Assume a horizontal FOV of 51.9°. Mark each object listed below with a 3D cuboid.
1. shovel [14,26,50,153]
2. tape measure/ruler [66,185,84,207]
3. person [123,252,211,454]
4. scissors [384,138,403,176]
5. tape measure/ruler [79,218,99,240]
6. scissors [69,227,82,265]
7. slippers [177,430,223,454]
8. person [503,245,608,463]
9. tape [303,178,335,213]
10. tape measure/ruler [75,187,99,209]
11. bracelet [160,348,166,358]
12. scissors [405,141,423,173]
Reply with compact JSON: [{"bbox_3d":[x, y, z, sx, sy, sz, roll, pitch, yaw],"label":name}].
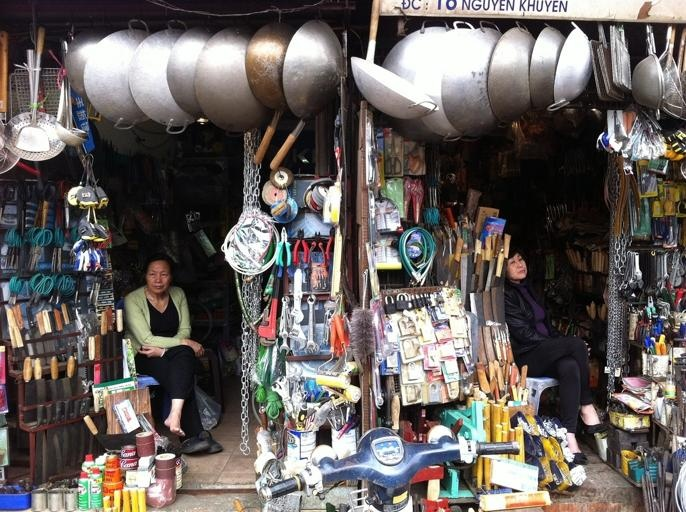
[{"bbox_3d":[-2.398,-1.267,5.496,0.215,1.032,0.212,5,8,14],"label":"shovel"},{"bbox_3d":[-2.135,-0.478,5.653,0.170,0.148,0.076,-10,2,28],"label":"tape measure/ruler"},{"bbox_3d":[-1.557,0.824,6.249,0.680,1.890,0.663,3,9,-9],"label":"person"},{"bbox_3d":[0.429,-0.831,5.902,0.142,0.315,0.091,-1,0,-4],"label":"scissors"},{"bbox_3d":[-2.030,-0.206,5.580,0.099,0.166,0.058,0,-7,-14],"label":"tape measure/ruler"},{"bbox_3d":[-2.198,-0.079,5.800,0.088,0.285,0.184,0,1,-8],"label":"scissors"},{"bbox_3d":[-1.226,1.602,6.106,0.268,0.158,0.182,-4,-7,9],"label":"slippers"},{"bbox_3d":[1.785,0.827,6.078,0.748,1.776,0.733,3,8,5],"label":"person"},{"bbox_3d":[-0.203,-0.480,5.623,0.198,0.263,0.248,13,-32,-3],"label":"tape"},{"bbox_3d":[-2.028,-0.458,5.560,0.149,0.167,0.119,-6,4,-21],"label":"tape measure/ruler"},{"bbox_3d":[-1.609,0.870,6.271,0.049,0.080,0.026,-1,-6,-14],"label":"bracelet"},{"bbox_3d":[0.614,-0.824,5.926,0.206,0.226,0.052,8,-1,-7],"label":"scissors"}]
